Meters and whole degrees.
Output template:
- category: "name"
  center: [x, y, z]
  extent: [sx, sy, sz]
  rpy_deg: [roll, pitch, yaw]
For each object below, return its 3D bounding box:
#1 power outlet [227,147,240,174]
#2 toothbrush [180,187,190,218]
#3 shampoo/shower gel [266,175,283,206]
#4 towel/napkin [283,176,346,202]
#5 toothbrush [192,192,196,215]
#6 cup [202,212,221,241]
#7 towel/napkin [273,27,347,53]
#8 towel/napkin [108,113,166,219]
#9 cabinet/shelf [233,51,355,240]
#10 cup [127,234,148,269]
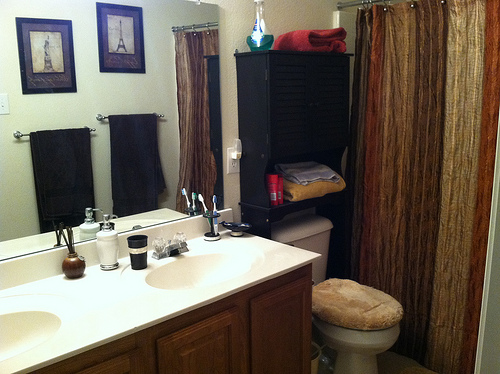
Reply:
- category: "power outlet"
  center: [-0.091, -0.153, 2.398]
  extent: [0.017, 0.156, 0.093]
  rpy_deg: [2, 2, 43]
- category: "toothbrush"
  center: [-0.338, 0.074, 2.227]
  extent: [0.029, 0.144, 0.019]
  rpy_deg: [-14, 10, -43]
- category: "shampoo/shower gel"
  center: [0.132, 0.017, 2.335]
  extent: [0.101, 0.193, 0.135]
  rpy_deg: [-5, 9, -21]
- category: "towel/napkin"
  center: [0.334, 0.012, 2.426]
  extent: [0.188, 0.063, 0.188]
  rpy_deg: [-10, 15, -31]
- category: "toothbrush"
  center: [-0.296, 0.082, 2.258]
  extent: [0.028, 0.109, 0.010]
  rpy_deg: [-10, 14, -21]
- category: "cup"
  center: [-0.190, 0.207, 2.291]
  extent: [0.120, 0.176, 0.122]
  rpy_deg: [0, 7, 0]
- category: "towel/napkin"
  center: [0.345, -0.809, 2.387]
  extent: [0.429, 0.136, 0.151]
  rpy_deg: [-12, 15, -23]
- category: "towel/napkin"
  center: [-0.545, -0.100, 2.078]
  extent: [0.282, 0.519, 0.033]
  rpy_deg: [-1, 23, -15]
- category: "cabinet/shelf"
  center: [0.267, -0.278, 2.423]
  extent: [0.708, 0.981, 0.235]
  rpy_deg: [-12, 14, -24]
- category: "cup"
  center: [-0.495, 0.274, 1.902]
  extent: [0.127, 0.167, 0.122]
  rpy_deg: [-1, 5, 0]
